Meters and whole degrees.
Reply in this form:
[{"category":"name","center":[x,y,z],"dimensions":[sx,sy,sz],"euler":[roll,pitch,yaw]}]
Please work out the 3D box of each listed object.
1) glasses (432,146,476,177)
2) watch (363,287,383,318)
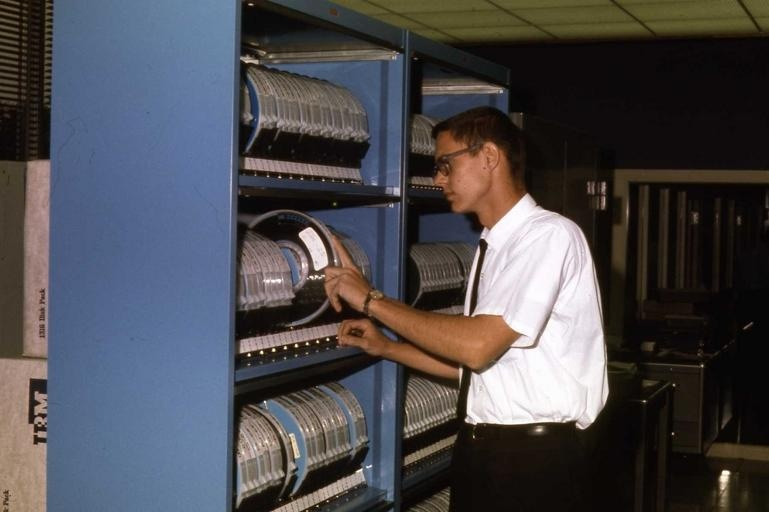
[{"category":"glasses","center":[0.305,-0.422,2.987],"dimensions":[0.132,0.044,0.136],"euler":[-22,-8,7]},{"category":"watch","center":[-0.067,0.197,2.895],"dimensions":[0.107,0.112,0.069],"euler":[-29,49,-34]}]
